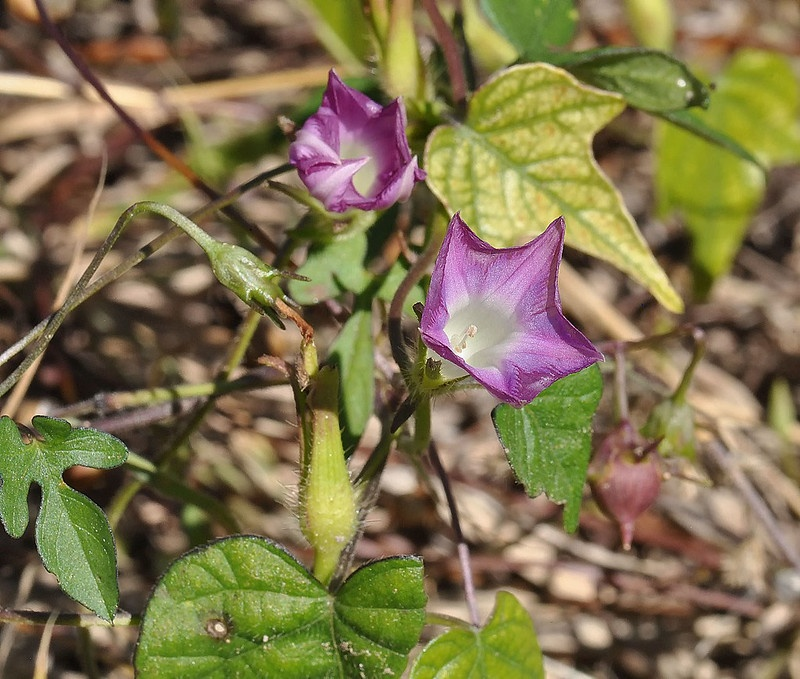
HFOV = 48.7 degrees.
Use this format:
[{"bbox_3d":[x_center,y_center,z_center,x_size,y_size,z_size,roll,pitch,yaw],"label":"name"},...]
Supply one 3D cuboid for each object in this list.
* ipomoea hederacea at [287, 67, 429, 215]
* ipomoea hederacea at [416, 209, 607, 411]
[{"bbox_3d":[-0.107,-0.503,2.183,0.390,0.191,0.357,6,9,11],"label":"ipomoea hederacea"},{"bbox_3d":[0.138,-0.058,2.033,0.478,0.465,0.316,-18,72,-10],"label":"ipomoea hederacea"}]
